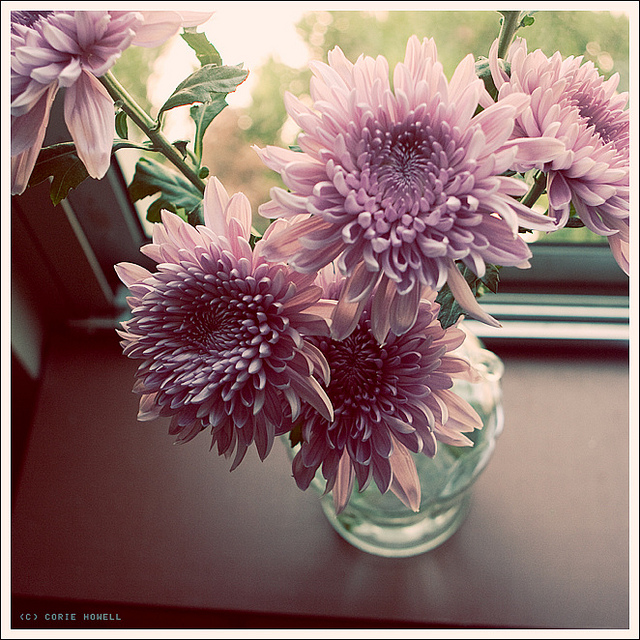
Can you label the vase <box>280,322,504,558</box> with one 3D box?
[{"bbox_3d":[0.092,0.136,0.812,0.246,0.281,0.290,8,68,30],"label":"vase"}]
